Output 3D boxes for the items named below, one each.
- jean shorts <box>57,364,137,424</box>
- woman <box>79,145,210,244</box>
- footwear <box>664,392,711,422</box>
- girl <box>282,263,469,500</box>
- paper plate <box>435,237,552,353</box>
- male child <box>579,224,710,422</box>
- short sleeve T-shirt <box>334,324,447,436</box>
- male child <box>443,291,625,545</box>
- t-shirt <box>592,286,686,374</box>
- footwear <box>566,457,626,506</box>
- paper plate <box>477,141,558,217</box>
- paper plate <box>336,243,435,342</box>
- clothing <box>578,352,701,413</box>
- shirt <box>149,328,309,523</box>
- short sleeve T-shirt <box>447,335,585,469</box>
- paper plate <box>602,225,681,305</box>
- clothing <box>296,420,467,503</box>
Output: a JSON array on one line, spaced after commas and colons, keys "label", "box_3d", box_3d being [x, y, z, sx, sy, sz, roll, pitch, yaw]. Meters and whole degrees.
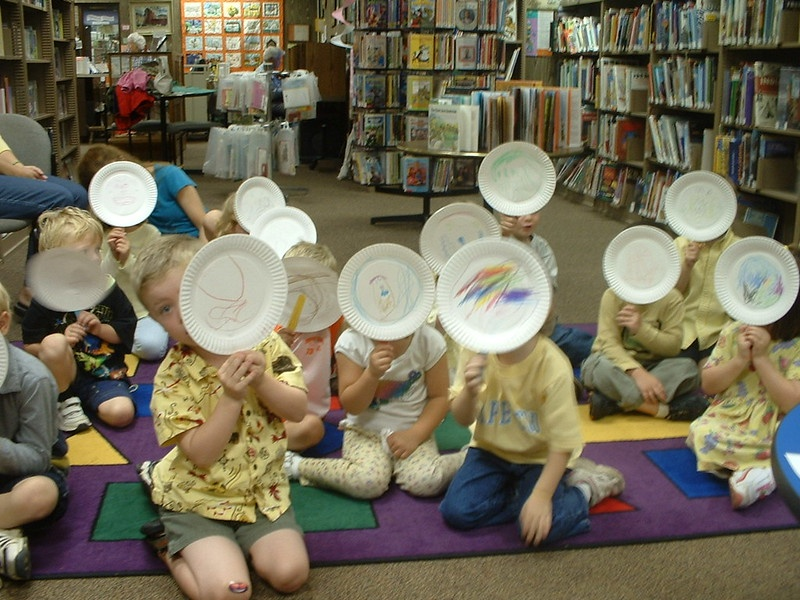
[{"label": "jean shorts", "box_3d": [-1.169, 0.367, 2.663, 0.165, 0.100, 0.299, 17, 39, -59]}, {"label": "woman", "box_3d": [-1.363, -0.570, 3.658, 0.696, 0.598, 0.267, -6, 8, -36]}, {"label": "footwear", "box_3d": [1.132, 0.411, 2.662, 0.129, 0.045, 0.101, -27, 52, -8]}, {"label": "girl", "box_3d": [-0.037, 0.228, 2.177, 0.634, 0.832, 0.463, -8, 28, -13]}, {"label": "paper plate", "box_3d": [0.254, -0.013, 1.854, 0.309, 0.279, 0.149, 5, 17, 2]}, {"label": "male child", "box_3d": [0.946, 0.004, 2.884, 0.529, 0.963, 0.648, -3, 16, 3]}, {"label": "short sleeve T-shirt", "box_3d": [-0.035, 0.269, 2.318, 0.352, 0.435, 0.213, -4, 15, -27]}, {"label": "male child", "box_3d": [0.388, 0.301, 2.001, 0.409, 0.749, 0.407, 6, 19, 25]}, {"label": "t-shirt", "box_3d": [0.980, 0.083, 2.865, 0.269, 0.460, 0.329, 8, 10, 17]}, {"label": "footwear", "box_3d": [0.621, 0.568, 2.142, 0.144, 0.076, 0.123, 15, 26, 42]}, {"label": "paper plate", "box_3d": [0.485, -0.509, 2.857, 0.307, 0.294, 0.185, 7, 18, 9]}, {"label": "paper plate", "box_3d": [-0.039, -0.016, 2.027, 0.263, 0.332, 0.033, -17, 27, 12]}, {"label": "clothing", "box_3d": [0.952, 0.313, 2.692, 0.253, 0.142, 0.287, -4, 12, -16]}, {"label": "shirt", "box_3d": [-0.486, 0.370, 1.977, 0.407, 0.596, 0.309, 1, -21, -30]}, {"label": "short sleeve T-shirt", "box_3d": [0.364, 0.282, 2.115, 0.229, 0.414, 0.421, -13, 30, -41]}, {"label": "paper plate", "box_3d": [0.940, -0.118, 2.652, 0.273, 0.318, 0.135, 7, 17, 10]}, {"label": "clothing", "box_3d": [-0.054, 0.525, 2.362, 0.660, 0.332, 0.426, 5, -3, -12]}]
